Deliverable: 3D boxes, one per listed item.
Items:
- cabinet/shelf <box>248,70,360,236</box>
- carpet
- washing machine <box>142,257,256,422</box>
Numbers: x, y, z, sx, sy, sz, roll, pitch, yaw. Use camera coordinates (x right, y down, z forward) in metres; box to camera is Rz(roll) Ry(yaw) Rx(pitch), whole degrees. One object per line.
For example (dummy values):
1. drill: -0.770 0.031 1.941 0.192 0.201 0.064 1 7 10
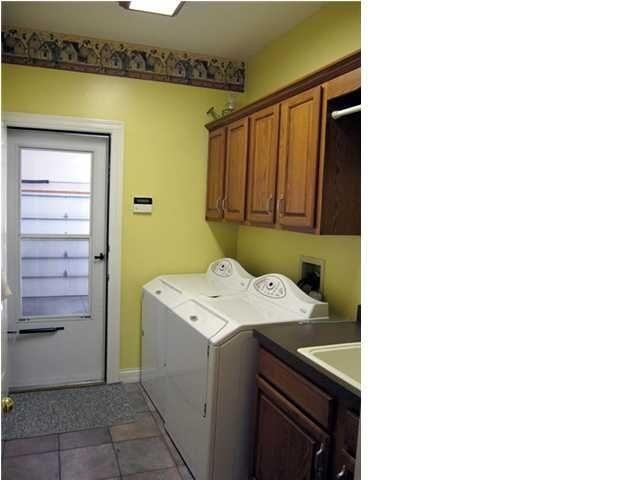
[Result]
1. cabinet/shelf: -0.009 -0.268 1.695 0.511 0.505 0.265 -2 -5 40
2. carpet: -1.170 0.801 2.322 0.585 0.034 0.612 2 3 -26
3. washing machine: -0.503 0.422 1.949 0.347 0.558 0.688 2 3 -25
